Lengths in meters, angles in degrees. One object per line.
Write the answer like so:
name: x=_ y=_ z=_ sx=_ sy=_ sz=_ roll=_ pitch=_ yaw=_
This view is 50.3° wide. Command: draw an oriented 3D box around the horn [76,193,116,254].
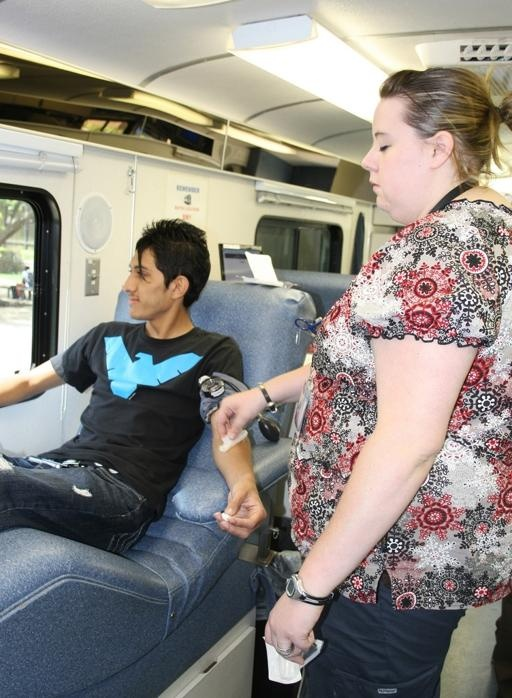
horn: x=-0.925 y=-0.699 z=3.102 sx=0.063 sy=0.257 sz=0.279 roll=10 pitch=17 yaw=24

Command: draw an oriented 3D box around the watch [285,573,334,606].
watch: x=0.079 y=0.348 z=0.818 sx=0.059 sy=0.031 sz=0.055 roll=12 pitch=-25 yaw=6
